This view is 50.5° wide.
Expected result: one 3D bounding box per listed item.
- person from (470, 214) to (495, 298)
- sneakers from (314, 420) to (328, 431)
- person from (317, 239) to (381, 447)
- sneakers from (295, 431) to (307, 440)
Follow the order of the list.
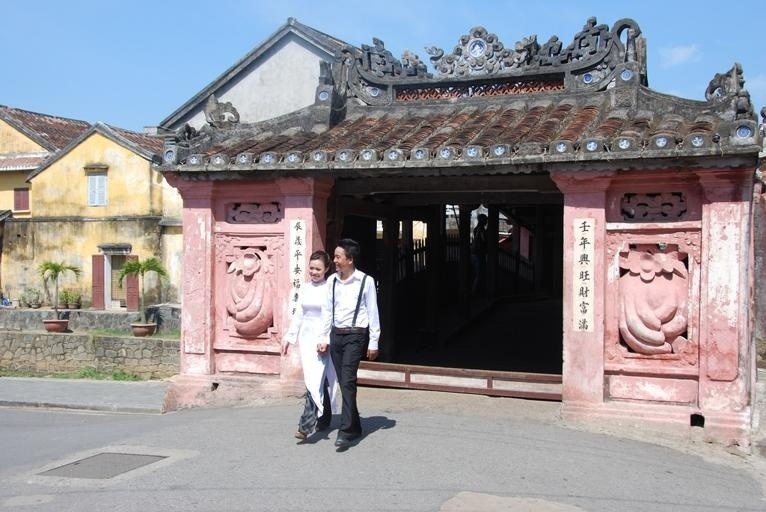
[{"bbox_3d":[2.797,-0.061,23.366,0.511,2.152,1.017,-1,11,6],"label":"person"},{"bbox_3d":[-0.857,2.399,11.596,0.154,0.166,0.195,-4,1,43],"label":"sneakers"},{"bbox_3d":[-0.472,1.189,11.157,0.846,2.774,0.734,-3,11,-3],"label":"person"},{"bbox_3d":[-1.131,2.500,11.335,0.089,0.103,0.236,5,1,4],"label":"sneakers"}]
